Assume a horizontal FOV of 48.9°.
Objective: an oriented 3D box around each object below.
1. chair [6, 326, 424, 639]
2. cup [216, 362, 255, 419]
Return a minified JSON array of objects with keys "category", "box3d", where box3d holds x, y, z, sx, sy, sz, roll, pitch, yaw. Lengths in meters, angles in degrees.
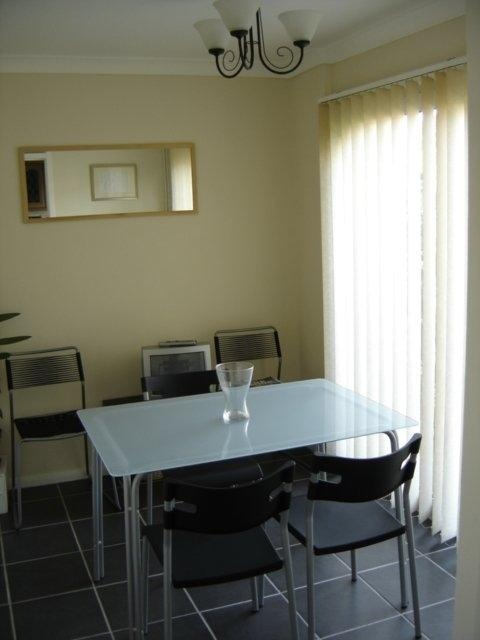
[{"category":"chair","box3d":[-0.014,0.648,2.021,1.137,0.609,0.755,-5,8,-23]},{"category":"cup","box3d":[-0.015,0.256,1.963,0.137,0.286,0.172,-1,-3,0]}]
